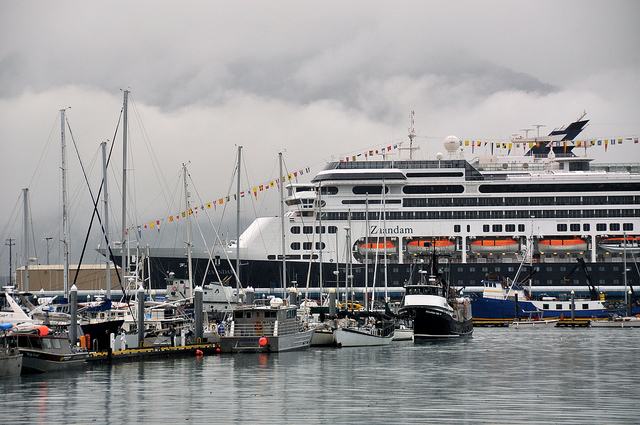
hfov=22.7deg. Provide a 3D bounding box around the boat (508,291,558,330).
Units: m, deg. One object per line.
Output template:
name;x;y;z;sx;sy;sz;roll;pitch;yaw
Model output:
boat;18.477;10.006;139.951;4.880;3.821;3.049;1;2;-7

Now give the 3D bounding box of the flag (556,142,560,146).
flag;22.059;-6.529;148.217;0.345;0.348;0.258;1;3;5

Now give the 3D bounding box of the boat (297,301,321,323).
boat;-0.906;8.354;128.347;1.946;1.923;1.209;1;4;9

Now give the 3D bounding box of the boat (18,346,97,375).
boat;-17.895;10.296;108.507;4.374;1.984;3.839;1;-4;-7

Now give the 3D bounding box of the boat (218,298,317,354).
boat;-3.482;8.616;119.835;5.222;3.826;9.580;-2;0;20

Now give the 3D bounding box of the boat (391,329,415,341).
boat;6.586;9.932;127.154;0.653;0.945;2.330;-9;-11;39
